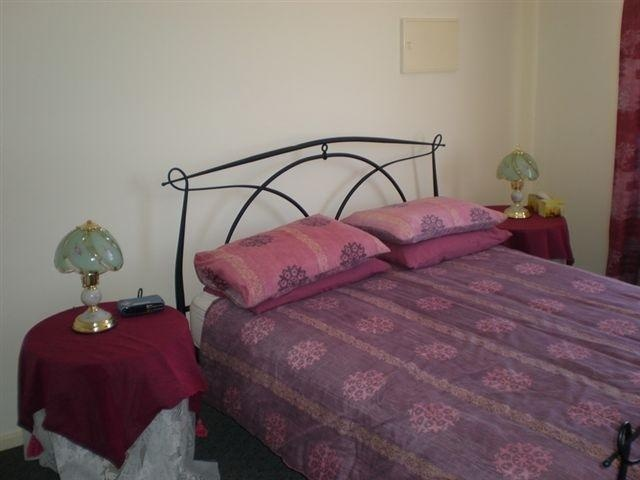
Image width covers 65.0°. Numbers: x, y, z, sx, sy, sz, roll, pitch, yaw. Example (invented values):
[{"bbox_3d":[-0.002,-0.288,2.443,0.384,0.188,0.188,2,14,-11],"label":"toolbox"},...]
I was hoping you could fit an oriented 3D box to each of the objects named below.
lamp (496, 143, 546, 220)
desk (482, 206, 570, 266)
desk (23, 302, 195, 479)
[{"bbox_3d":[1.357,-0.396,3.450,0.270,0.460,0.273,1,9,28],"label":"lamp"},{"bbox_3d":[1.388,-0.036,3.203,0.322,0.184,0.348,-6,24,-4],"label":"desk"},{"bbox_3d":[-0.866,0.604,2.107,0.734,0.489,0.467,-5,13,-14],"label":"desk"}]
